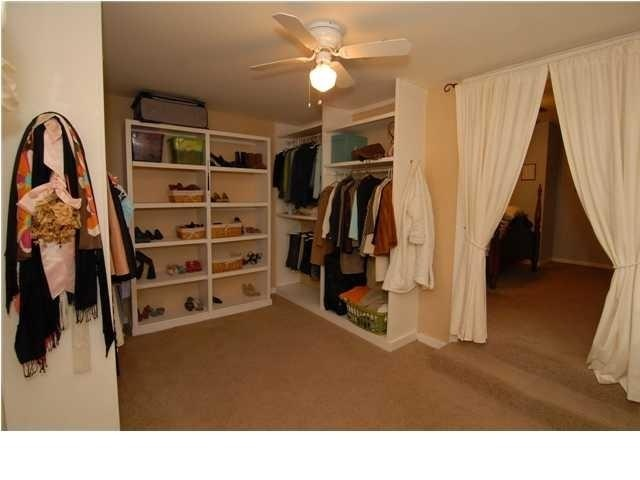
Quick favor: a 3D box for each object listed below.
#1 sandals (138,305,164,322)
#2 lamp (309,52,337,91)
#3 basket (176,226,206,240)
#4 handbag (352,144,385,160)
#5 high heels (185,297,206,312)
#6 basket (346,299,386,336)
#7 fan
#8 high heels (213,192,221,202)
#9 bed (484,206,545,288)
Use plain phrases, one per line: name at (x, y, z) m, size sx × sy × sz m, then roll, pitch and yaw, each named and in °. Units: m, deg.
sandals at (-1.748, 0.749, 4.691) m, size 0.203 × 0.078 × 0.135 m, roll 3°, pitch 3°, yaw 44°
lamp at (0.008, -1.167, 3.266) m, size 0.199 × 0.233 × 0.229 m, roll 4°, pitch -21°, yaw -8°
basket at (-1.338, -0.057, 4.784) m, size 0.195 × 0.099 × 0.150 m, roll 1°, pitch -2°, yaw -41°
handbag at (0.473, -0.871, 4.375) m, size 0.240 × 0.073 × 0.188 m, roll -8°, pitch 16°, yaw -13°
high heels at (-1.349, 0.699, 4.970) m, size 0.210 × 0.161 × 0.128 m, roll -5°, pitch -1°, yaw -1°
basket at (0.437, 0.749, 4.392) m, size 0.216 × 0.141 × 0.316 m, roll -2°, pitch 7°, yaw -37°
fan at (0.024, -1.294, 3.285) m, size 0.991 × 0.455 × 0.961 m, roll -2°, pitch 8°, yaw -13°
high heels at (-1.131, -0.465, 5.046) m, size 0.089 × 0.125 × 0.099 m, roll -4°, pitch 9°, yaw -42°
bed at (2.668, 0.072, 6.359) m, size 0.847 × 0.961 × 1.482 m, roll 5°, pitch 14°, yaw 31°
